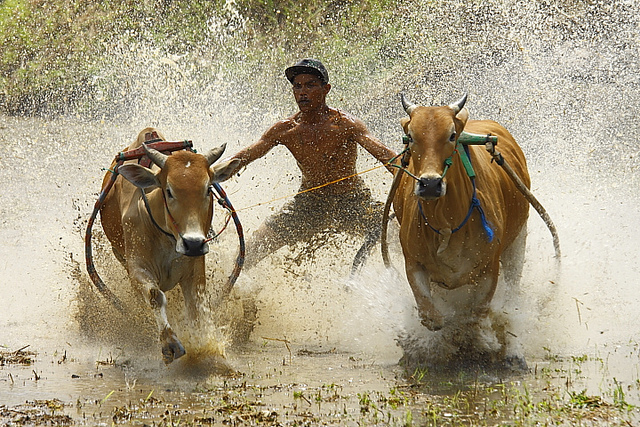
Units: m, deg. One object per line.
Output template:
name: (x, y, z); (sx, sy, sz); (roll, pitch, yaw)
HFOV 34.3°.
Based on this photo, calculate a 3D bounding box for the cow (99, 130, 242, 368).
cow: (-2.162, 0.514, 14.096); (1.976, 2.958, 1.093); (1, 7, 35)

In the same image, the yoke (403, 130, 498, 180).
yoke: (2.111, -0.778, 13.845); (0.510, 0.634, 0.169); (-3, 6, 5)

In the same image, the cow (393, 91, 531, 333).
cow: (1.926, 0.008, 14.149); (1.753, 3.261, 1.109); (-6, 7, -24)
